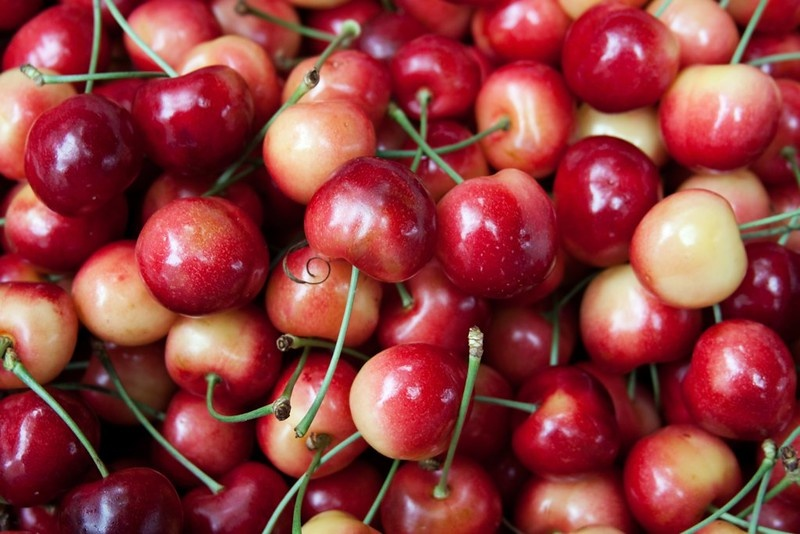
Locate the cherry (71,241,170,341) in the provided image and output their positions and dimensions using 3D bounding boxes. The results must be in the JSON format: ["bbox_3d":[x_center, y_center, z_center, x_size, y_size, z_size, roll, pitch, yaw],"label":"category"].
[{"bbox_3d":[-0.475,0.056,1.336,0.138,0.053,0.181,-34,82,-5],"label":"cherry"}]

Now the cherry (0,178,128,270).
[{"bbox_3d":[-0.594,-0.066,1.396,0.158,0.154,0.094,-1,88,-13],"label":"cherry"}]

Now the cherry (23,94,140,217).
[{"bbox_3d":[-0.542,-0.198,1.351,0.210,0.198,0.203,-21,110,-22],"label":"cherry"}]
